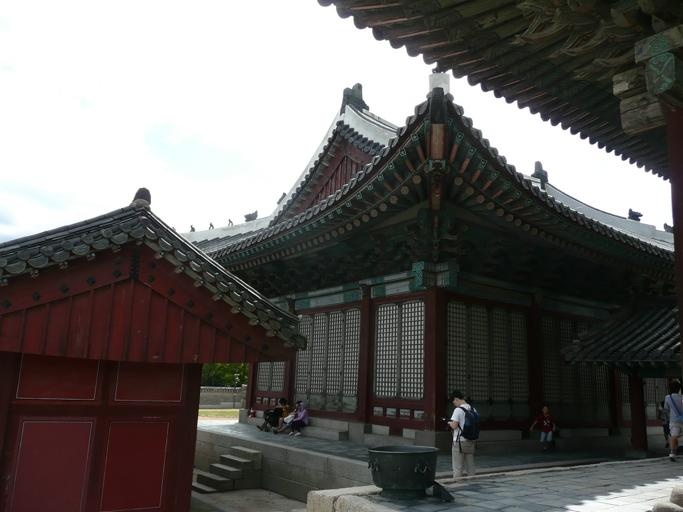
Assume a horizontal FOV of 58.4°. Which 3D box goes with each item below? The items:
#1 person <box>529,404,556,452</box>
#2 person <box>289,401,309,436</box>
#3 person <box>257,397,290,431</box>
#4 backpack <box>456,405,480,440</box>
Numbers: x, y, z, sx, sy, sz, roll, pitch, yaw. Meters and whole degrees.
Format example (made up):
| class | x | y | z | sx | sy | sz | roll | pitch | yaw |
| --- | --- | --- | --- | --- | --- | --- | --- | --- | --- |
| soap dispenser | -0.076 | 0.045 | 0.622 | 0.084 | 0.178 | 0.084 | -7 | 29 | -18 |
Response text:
| class | x | y | z | sx | sy | sz | roll | pitch | yaw |
| --- | --- | --- | --- | --- | --- | --- | --- | --- | --- |
| person | 4.431 | 3.710 | 13.400 | 0.562 | 0.963 | 1.008 | 11 | 4 | 22 |
| person | -1.076 | 4.015 | 15.149 | 0.437 | 0.808 | 0.336 | 14 | -22 | -42 |
| person | -1.792 | 4.106 | 15.797 | 0.745 | 0.864 | 0.440 | 7 | -16 | 21 |
| backpack | 1.991 | 2.645 | 9.599 | 0.316 | 0.536 | 0.374 | -9 | -15 | 44 |
